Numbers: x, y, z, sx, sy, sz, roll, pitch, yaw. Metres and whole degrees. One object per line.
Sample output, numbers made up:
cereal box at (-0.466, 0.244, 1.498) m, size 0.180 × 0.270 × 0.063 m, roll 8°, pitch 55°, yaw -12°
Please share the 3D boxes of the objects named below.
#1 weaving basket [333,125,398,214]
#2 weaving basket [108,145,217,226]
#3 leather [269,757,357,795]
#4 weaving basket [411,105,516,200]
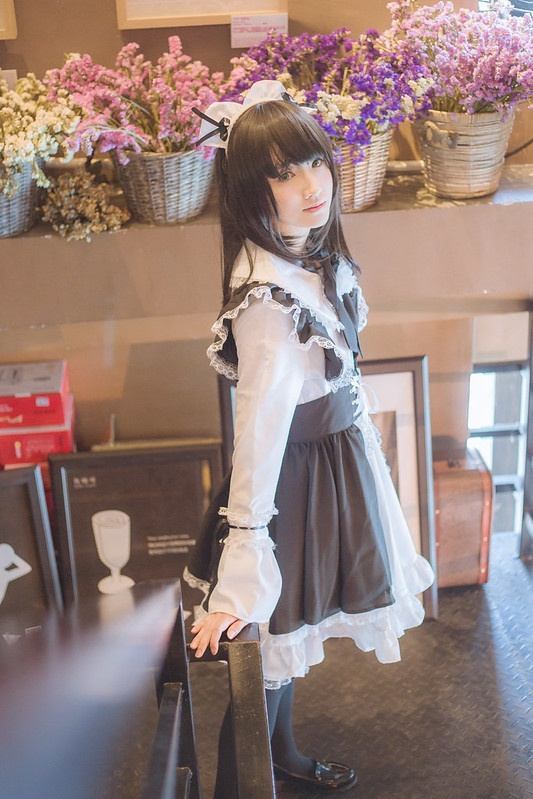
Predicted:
weaving basket at (0.212, -0.500, 1.293) m, size 0.148 × 0.128 × 0.169 m, roll -2°, pitch 26°, yaw 10°
weaving basket at (-0.202, -0.456, 1.235) m, size 0.159 × 0.116 × 0.152 m, roll -13°, pitch 33°, yaw -16°
leather at (0.103, 0.756, 1.229) m, size 0.137 × 0.042 × 0.064 m, roll -3°, pitch 16°, yaw 14°
weaving basket at (0.408, -0.522, 1.301) m, size 0.196 × 0.155 × 0.194 m, roll 1°, pitch 26°, yaw 12°
